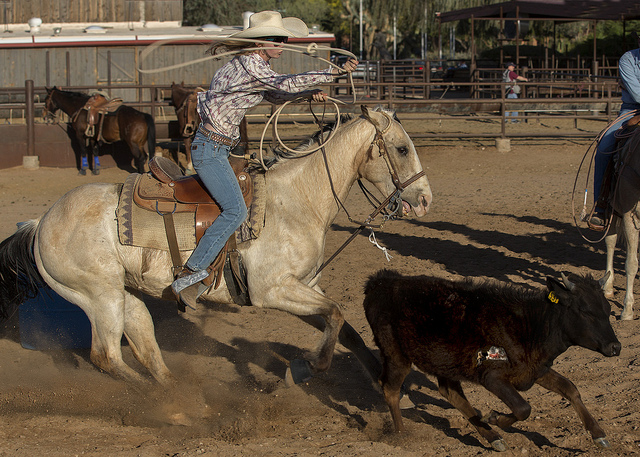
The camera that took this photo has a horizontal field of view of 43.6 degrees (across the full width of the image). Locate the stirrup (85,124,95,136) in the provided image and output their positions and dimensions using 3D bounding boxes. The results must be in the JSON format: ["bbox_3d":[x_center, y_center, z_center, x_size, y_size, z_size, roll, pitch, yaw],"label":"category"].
[{"bbox_3d":[-5.180,-2.214,18.002,0.216,0.228,0.058,5,5,-6],"label":"stirrup"}]

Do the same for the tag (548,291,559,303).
[{"bbox_3d":[2.151,0.627,7.352,0.097,0.105,0.021,7,14,29],"label":"tag"}]

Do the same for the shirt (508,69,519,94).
[{"bbox_3d":[5.708,-4.326,23.692,0.464,0.649,0.226,6,2,-21],"label":"shirt"}]

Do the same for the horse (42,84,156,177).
[{"bbox_3d":[-5.099,-2.162,18.347,2.811,1.845,0.846,7,10,5],"label":"horse"}]

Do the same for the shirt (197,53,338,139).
[{"bbox_3d":[-0.629,-1.286,7.857,1.241,0.828,0.233,2,12,11],"label":"shirt"}]

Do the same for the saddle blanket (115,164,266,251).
[{"bbox_3d":[-1.589,-0.168,8.323,0.907,0.937,0.287,3,-17,-7],"label":"saddle blanket"}]

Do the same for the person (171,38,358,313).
[{"bbox_3d":[-0.800,-0.576,8.033,1.466,2.588,0.758,-2,12,-11],"label":"person"}]
